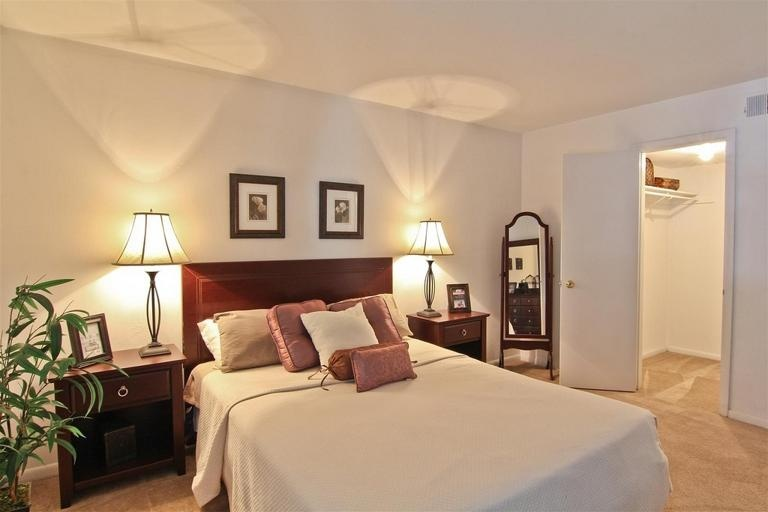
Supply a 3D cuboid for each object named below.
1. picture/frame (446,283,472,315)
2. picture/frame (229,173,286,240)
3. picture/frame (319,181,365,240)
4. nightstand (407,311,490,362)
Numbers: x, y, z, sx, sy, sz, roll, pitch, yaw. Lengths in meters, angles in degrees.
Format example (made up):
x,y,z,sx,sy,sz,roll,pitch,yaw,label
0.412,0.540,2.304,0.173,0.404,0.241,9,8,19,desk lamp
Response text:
x,y,z,sx,sy,sz,roll,pitch,yaw,label
0.779,0.461,5.501,0.305,0.348,0.035,2,-12,-25,picture/frame
-1.135,-0.440,4.615,0.614,0.736,0.052,0,0,-31,picture/frame
-0.420,-0.436,5.000,0.589,0.648,0.045,1,-1,-36,picture/frame
0.626,1.001,5.405,0.768,0.735,0.535,1,0,-41,nightstand
